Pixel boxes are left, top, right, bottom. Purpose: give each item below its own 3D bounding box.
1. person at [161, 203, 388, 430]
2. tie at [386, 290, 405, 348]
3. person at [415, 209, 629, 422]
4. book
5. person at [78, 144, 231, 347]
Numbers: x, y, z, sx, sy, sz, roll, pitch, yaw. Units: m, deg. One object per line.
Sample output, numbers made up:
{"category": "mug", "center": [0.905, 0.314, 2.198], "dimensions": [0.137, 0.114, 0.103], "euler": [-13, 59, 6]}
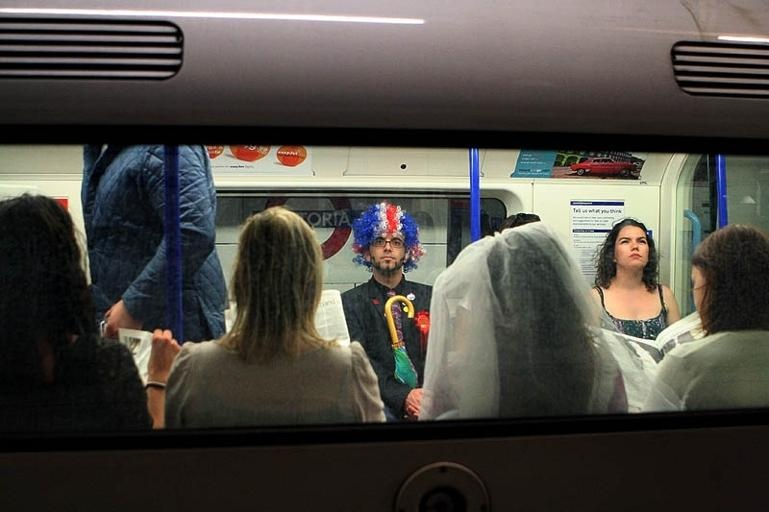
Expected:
{"category": "person", "center": [-0.438, 0.193, 3.476], "dimensions": [0.767, 0.713, 0.380], "euler": [0, 17, -4]}
{"category": "tie", "center": [0.039, 0.231, 3.496], "dimensions": [0.098, 0.171, 0.029], "euler": [-15, 13, -33]}
{"category": "person", "center": [0.493, 0.200, 3.544], "dimensions": [0.750, 0.705, 0.277], "euler": [-2, 9, 3]}
{"category": "book", "center": [1.022, 0.409, 3.498], "dimensions": [0.386, 0.385, 0.171], "euler": [-1, 33, 3]}
{"category": "person", "center": [-0.933, -0.084, 3.882], "dimensions": [0.619, 0.999, 0.916], "euler": [2, -4, -26]}
